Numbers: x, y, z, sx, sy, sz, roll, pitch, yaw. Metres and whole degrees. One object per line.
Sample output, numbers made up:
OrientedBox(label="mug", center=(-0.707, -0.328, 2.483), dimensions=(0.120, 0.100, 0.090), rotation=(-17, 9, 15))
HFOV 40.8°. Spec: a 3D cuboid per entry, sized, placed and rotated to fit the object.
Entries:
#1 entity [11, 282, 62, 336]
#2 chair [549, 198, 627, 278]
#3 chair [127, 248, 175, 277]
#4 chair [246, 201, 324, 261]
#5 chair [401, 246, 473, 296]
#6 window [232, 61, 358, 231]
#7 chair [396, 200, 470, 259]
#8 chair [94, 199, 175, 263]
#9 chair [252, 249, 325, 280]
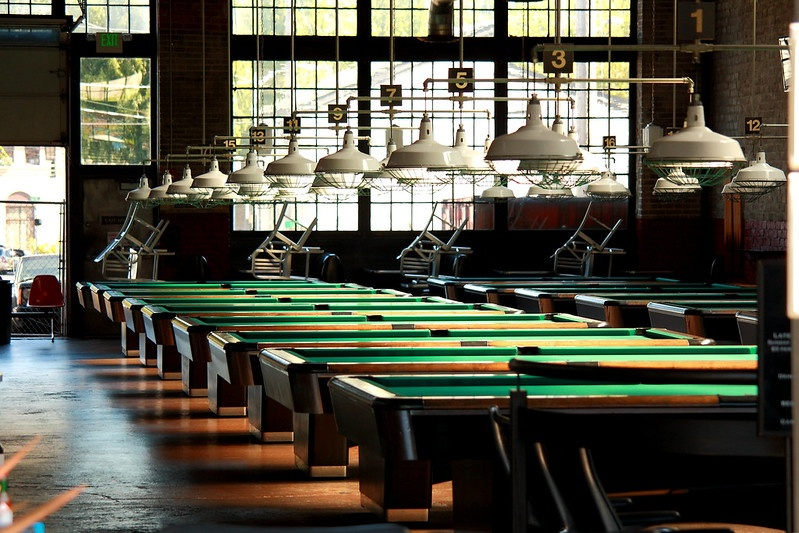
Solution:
OrientedBox(label="entity", center=(-4.791, 0.558, 14.495), dimensions=(0.532, 0.677, 0.535), rotation=(9, -5, -37))
OrientedBox(label="chair", center=(2.580, -0.408, 14.820), dimensions=(0.982, 1.062, 1.637), rotation=(0, 5, 11))
OrientedBox(label="chair", center=(-3.251, -0.026, 13.950), dimensions=(0.612, 0.525, 0.367), rotation=(3, 0, -6))
OrientedBox(label="chair", center=(-1.514, -0.415, 14.173), dimensions=(0.906, 0.852, 1.652), rotation=(-1, 4, -8))
OrientedBox(label="chair", center=(0.408, -0.001, 14.389), dimensions=(0.873, 0.500, 0.676), rotation=(-9, -3, 39))
OrientedBox(label="window", center=(-1.230, -1.467, 12.112), dimensions=(2.546, 1.720, 0.055), rotation=(-2, -1, -6))
OrientedBox(label="chair", center=(0.445, -0.512, 14.806), dimensions=(0.659, 0.984, 0.564), rotation=(29, 6, 24))
OrientedBox(label="chair", center=(-3.509, -0.459, 13.892), dimensions=(1.121, 0.726, 0.673), rotation=(-2, 5, -29))
OrientedBox(label="chair", center=(-1.555, -0.021, 14.157), dimensions=(0.707, 0.272, 0.475), rotation=(1, 0, -2))
